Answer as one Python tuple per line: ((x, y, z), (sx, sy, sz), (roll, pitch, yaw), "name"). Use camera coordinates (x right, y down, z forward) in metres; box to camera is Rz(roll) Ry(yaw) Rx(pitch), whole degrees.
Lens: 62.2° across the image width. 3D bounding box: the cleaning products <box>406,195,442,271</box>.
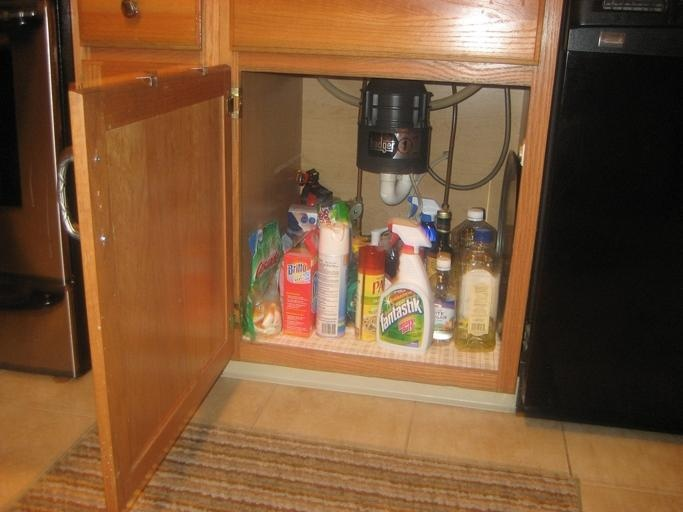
((0.243, -0.087, 1.747), (0.099, 0.238, 0.082), (6, 45, 6), "cleaning products")
